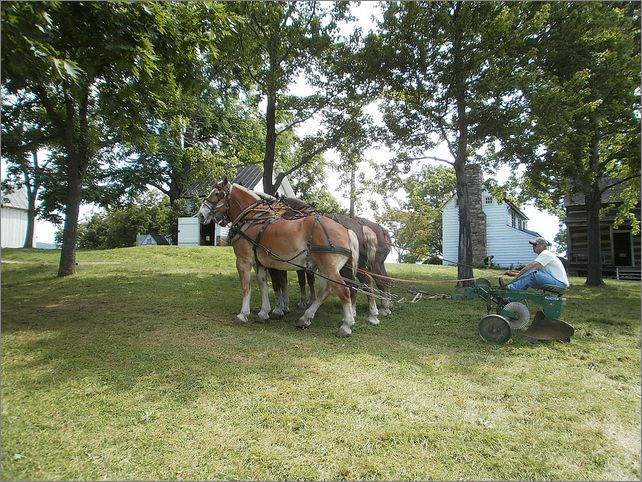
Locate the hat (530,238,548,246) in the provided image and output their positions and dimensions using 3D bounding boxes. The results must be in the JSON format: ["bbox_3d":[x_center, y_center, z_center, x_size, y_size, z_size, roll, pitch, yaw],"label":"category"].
[{"bbox_3d":[4.724,0.010,9.626,0.329,0.120,0.212,2,0,22],"label":"hat"}]

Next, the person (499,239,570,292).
[{"bbox_3d":[4.578,0.470,9.311,1.061,1.149,0.881,1,-3,23],"label":"person"}]

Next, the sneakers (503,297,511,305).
[{"bbox_3d":[3.939,1.284,9.405,0.124,0.128,0.285,1,-3,22],"label":"sneakers"}]
